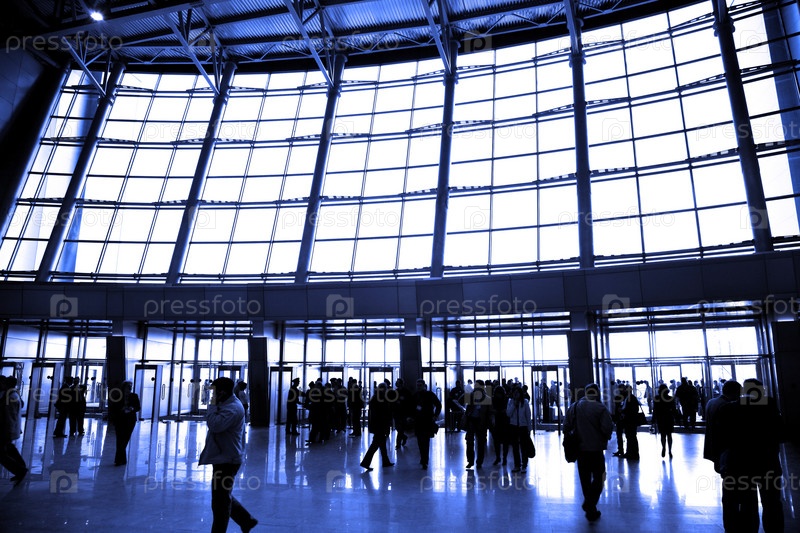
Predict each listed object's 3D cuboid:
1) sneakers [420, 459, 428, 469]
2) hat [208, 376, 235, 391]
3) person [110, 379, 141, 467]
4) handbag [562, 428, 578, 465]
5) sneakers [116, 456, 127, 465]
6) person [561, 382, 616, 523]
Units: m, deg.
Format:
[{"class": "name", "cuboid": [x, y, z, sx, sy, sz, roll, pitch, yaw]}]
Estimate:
[{"class": "sneakers", "cuboid": [0.644, 5.470, 17.092, 0.188, 0.211, 0.205, 3, -4, 30]}, {"class": "hat", "cuboid": [-3.558, 2.400, 12.428, 0.395, 0.218, 0.299, 8, -10, 24]}, {"class": "person", "cuboid": [-8.036, 4.546, 18.009, 0.687, 2.341, 1.522, 9, -17, -22]}, {"class": "handbag", "cuboid": [3.787, 4.083, 13.950, 0.420, 0.605, 0.162, -2, 3, -38]}, {"class": "sneakers", "cuboid": [-7.788, 5.495, 17.368, 0.300, 0.218, 0.166, -1, -6, 10]}, {"class": "person", "cuboid": [4.215, 4.139, 13.878, 1.038, 2.946, 0.579, -3, -16, 18]}]
